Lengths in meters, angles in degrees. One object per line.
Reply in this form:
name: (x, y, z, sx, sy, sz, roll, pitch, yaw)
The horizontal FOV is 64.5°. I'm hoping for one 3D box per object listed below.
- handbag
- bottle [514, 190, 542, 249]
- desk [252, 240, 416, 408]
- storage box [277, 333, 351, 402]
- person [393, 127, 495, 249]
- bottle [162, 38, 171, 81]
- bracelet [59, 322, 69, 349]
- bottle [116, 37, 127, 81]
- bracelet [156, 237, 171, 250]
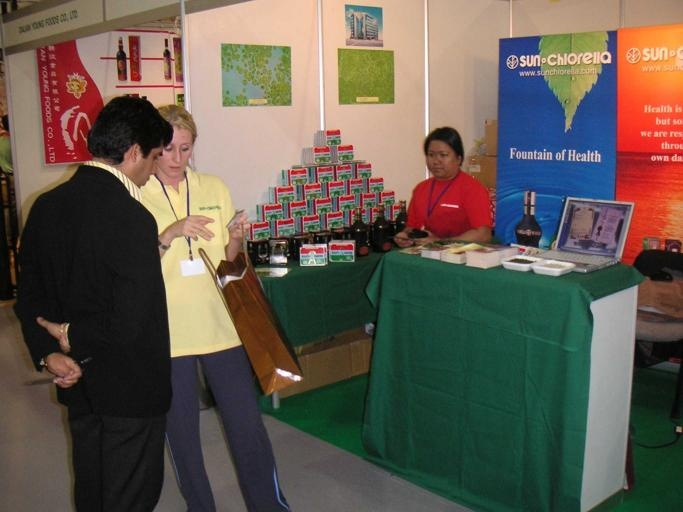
handbag: (-0.383, 0.237, 2.313, 0.246, 0.522, 0.470, -12, 17, -35)
bottle: (1.505, -0.300, 4.338, 0.192, 0.456, 0.199, -2, 14, 1)
desk: (-0.104, 0.439, 3.791, 1.229, 0.914, 0.892, -10, 12, -42)
storage box: (-0.140, 0.821, 4.239, 0.804, 0.297, 0.237, -11, 16, -23)
person: (0.708, -0.477, 4.045, 0.686, 0.932, 0.594, 9, 16, 44)
bottle: (-1.585, -1.786, 4.916, 0.023, 0.351, 0.096, 8, 17, 35)
bracelet: (-0.914, 0.266, 1.797, 0.026, 0.078, 0.055, 0, 17, -13)
bottle: (-1.945, -1.727, 4.766, 0.121, 0.361, 0.044, 5, 16, 27)
bracelet: (-0.720, -0.048, 2.202, 0.056, 0.022, 0.056, 29, -27, -10)
